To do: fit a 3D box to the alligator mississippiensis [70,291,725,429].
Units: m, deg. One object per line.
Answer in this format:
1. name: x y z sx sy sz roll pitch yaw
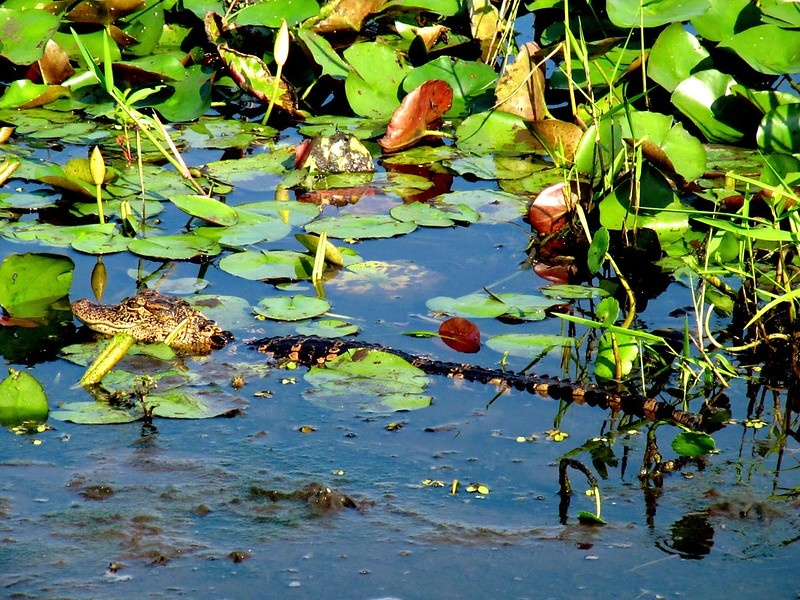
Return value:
1. alligator mississippiensis: -0.206 0.288 5.634 3.437 0.571 0.296 2 11 11
